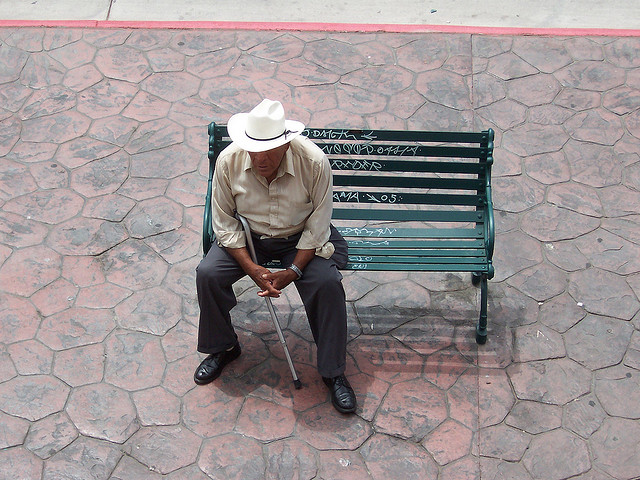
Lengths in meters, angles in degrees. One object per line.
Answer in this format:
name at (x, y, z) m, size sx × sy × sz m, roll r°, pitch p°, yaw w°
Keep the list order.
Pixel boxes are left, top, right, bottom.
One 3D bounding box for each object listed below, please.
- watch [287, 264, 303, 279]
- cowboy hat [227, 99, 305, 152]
watch at (-0.198, 0.239, 5.148) m, size 0.035 × 0.088 × 0.090 m, roll -41°, pitch 38°, yaw -8°
cowboy hat at (-0.443, -0.839, 4.873) m, size 0.484 × 0.231 × 0.426 m, roll 36°, pitch 77°, yaw 13°
